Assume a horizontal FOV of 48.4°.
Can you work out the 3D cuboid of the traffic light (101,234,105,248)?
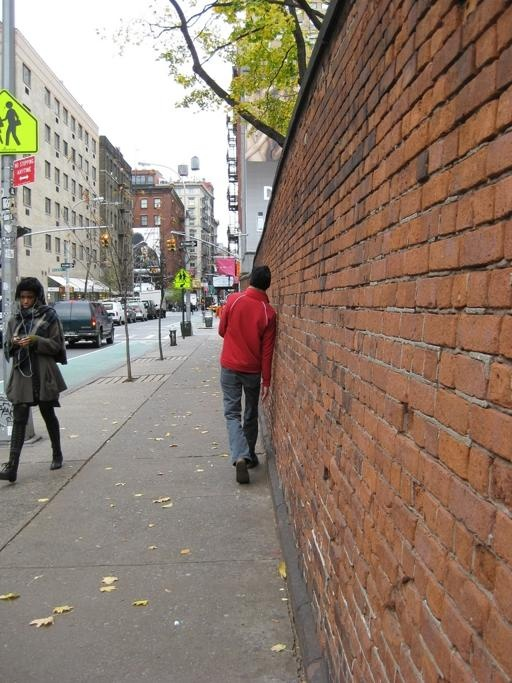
[{"bbox_3d":[-8.478,-5.659,31.904,0.305,0.761,1.339,-2,3,-15],"label":"traffic light"}]

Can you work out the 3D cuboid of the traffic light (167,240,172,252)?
[{"bbox_3d":[-4.517,-5.039,30.009,0.384,0.525,0.400,4,17,40],"label":"traffic light"}]

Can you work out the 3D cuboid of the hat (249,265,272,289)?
[{"bbox_3d":[0.039,-0.602,5.453,0.181,0.236,0.234,-1,3,-1],"label":"hat"}]

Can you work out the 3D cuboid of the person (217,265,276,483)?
[{"bbox_3d":[-0.084,0.302,5.570,0.525,2.029,0.426,-1,3,-5],"label":"person"}]

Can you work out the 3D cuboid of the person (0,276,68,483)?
[{"bbox_3d":[-2.327,0.344,5.823,0.568,1.992,0.861,1,3,30],"label":"person"}]
